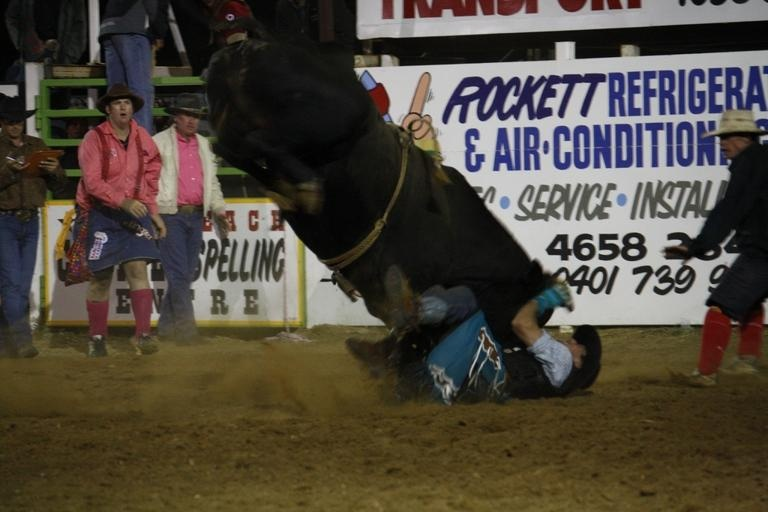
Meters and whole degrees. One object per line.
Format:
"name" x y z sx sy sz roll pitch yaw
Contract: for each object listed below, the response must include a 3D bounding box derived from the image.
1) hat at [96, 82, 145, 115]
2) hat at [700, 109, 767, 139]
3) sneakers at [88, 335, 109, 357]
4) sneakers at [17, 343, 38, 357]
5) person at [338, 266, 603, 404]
"hat" -2.865 -1.694 11.559 0.559 0.231 0.596 -2 -8 -10
"hat" 3.540 -1.300 10.584 0.456 0.165 0.376 1 2 -1
"sneakers" -3.147 1.005 11.592 0.293 0.300 0.218 2 -11 -19
"sneakers" -3.900 1.040 11.550 0.157 0.154 0.051 35 -17 -21
"person" 0.868 0.738 9.877 1.924 1.125 0.674 4 17 -15
